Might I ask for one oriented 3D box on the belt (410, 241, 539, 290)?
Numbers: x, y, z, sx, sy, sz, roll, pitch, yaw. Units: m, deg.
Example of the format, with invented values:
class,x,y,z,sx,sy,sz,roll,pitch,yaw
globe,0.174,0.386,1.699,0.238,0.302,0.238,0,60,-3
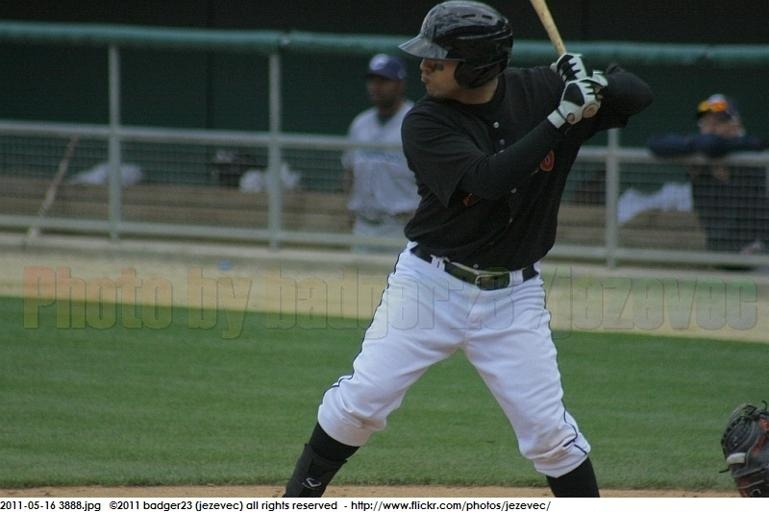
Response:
class,x,y,z,sx,sy,sz,roll,pitch,yaw
belt,0.446,0.078,10.373,0.358,0.116,0.324,16,-9,41
